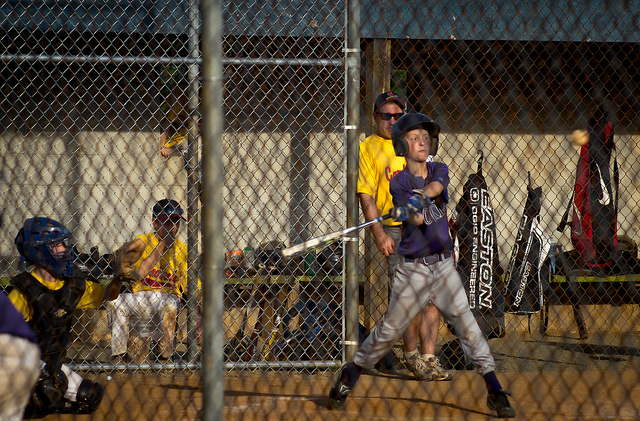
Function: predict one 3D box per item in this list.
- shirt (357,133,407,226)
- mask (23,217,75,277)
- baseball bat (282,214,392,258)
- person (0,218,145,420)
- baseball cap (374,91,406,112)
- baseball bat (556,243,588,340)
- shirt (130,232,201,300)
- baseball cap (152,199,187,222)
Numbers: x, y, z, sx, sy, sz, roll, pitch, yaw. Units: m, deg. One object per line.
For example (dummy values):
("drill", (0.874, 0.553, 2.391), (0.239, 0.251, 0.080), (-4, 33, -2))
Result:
("shirt", (0.598, -0.277, 8.021), (0.717, 0.906, 0.269), (-4, 2, -43))
("mask", (-2.438, 0.310, 7.592), (0.437, 0.546, 0.423), (5, 3, -7))
("baseball bat", (0.209, 0.267, 8.650), (1.303, 0.106, 0.168), (-19, 11, -31))
("person", (-2.378, 1.017, 7.294), (1.071, 1.842, 1.125), (5, 5, 45))
("baseball cap", (0.699, -1.093, 8.379), (0.297, 0.203, 0.187), (2, 4, 4))
("baseball bat", (3.049, 0.974, 10.036), (0.132, 1.148, 0.149), (-12, -1, -25))
("shirt", (-1.713, 0.653, 9.073), (0.715, 0.960, 0.492), (9, 27, 6))
("baseball cap", (-1.626, -0.012, 8.911), (0.247, 0.189, 0.208), (-5, 5, 11))
